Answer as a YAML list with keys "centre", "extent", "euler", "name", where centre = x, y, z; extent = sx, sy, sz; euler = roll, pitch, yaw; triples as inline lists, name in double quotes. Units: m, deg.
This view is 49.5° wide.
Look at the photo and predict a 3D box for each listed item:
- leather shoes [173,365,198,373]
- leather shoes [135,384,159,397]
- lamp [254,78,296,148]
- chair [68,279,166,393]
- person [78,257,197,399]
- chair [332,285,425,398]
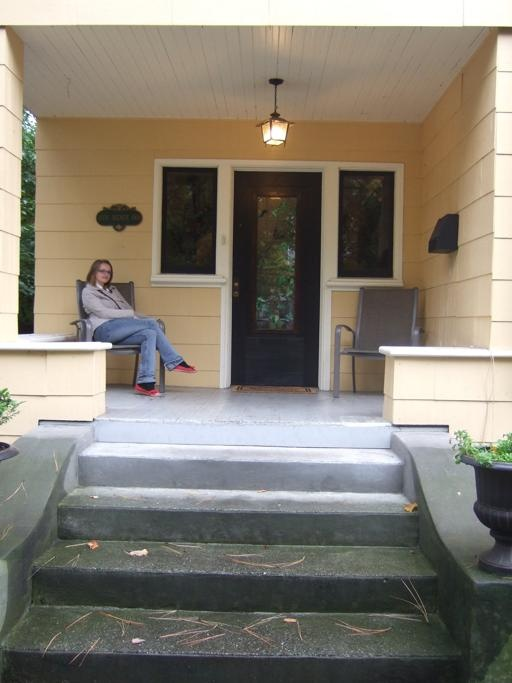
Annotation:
- centre: [-0.511, 0.197, 4.004]
  extent: [0.219, 0.087, 0.075]
  euler: [1, -1, -1]
  name: "leather shoes"
- centre: [-0.771, 0.356, 4.000]
  extent: [0.194, 0.070, 0.078]
  euler: [1, 2, 19]
  name: "leather shoes"
- centre: [0.140, -1.704, 4.120]
  extent: [0.233, 0.465, 0.222]
  euler: [-1, 4, -19]
  name: "lamp"
- centre: [-1.234, -0.041, 4.554]
  extent: [0.662, 0.932, 0.609]
  euler: [2, 7, -25]
  name: "chair"
- centre: [-0.948, -0.114, 4.133]
  extent: [0.980, 0.987, 0.348]
  euler: [6, 6, 41]
  name: "person"
- centre: [0.952, 0.028, 4.313]
  extent: [0.805, 0.930, 0.812]
  euler: [2, 1, -14]
  name: "chair"
